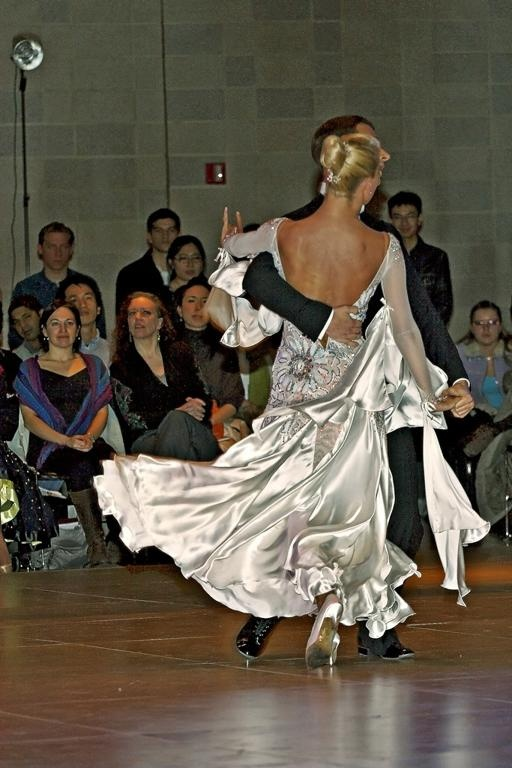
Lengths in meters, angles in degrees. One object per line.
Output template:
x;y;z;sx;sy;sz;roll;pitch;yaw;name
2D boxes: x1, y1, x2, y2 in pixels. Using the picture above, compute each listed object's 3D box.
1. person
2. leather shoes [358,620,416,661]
0.135;0.051;2.289;0.863;1.397;0.600;-1;1;30;person
0.339;0.712;2.307;0.196;0.082;0.069;-6;-8;40;leather shoes
